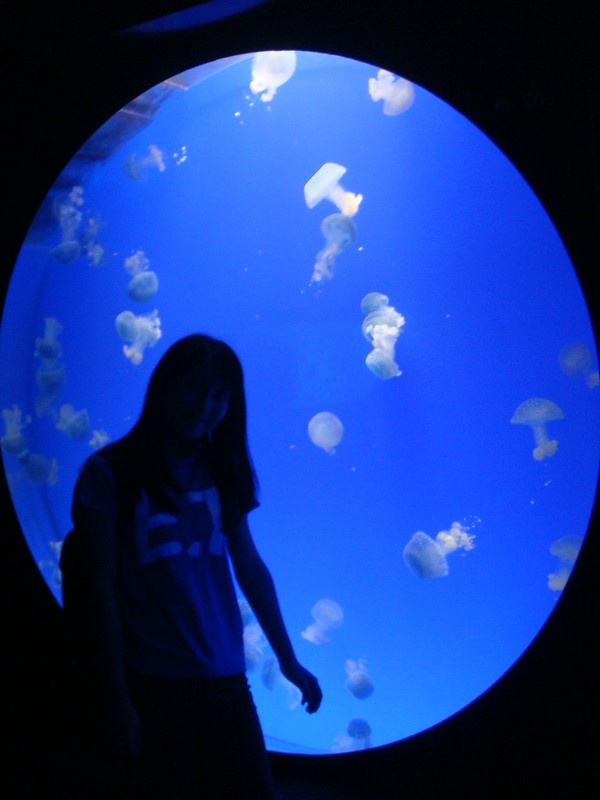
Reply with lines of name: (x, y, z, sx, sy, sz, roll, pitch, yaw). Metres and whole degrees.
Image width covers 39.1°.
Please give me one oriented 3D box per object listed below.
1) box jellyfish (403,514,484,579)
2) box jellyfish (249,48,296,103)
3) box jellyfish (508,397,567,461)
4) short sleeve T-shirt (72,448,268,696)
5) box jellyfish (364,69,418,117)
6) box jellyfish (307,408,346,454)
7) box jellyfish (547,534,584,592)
box jellyfish: (0.559, 0.592, 3.410, 0.250, 0.055, 0.206, -34, 59, -2)
box jellyfish: (-0.099, -1.228, 3.223, 0.183, 0.158, 0.185, -9, 14, -9)
box jellyfish: (0.941, 0.104, 3.337, 0.173, 0.234, 0.032, -2, 11, 41)
short sleeve T-shirt: (-0.486, 0.608, 2.962, 0.315, 0.939, 0.712, -19, -15, 30)
box jellyfish: (0.357, -1.207, 3.339, 0.155, 0.122, 0.084, 33, 48, 14)
box jellyfish: (0.099, 0.123, 3.377, 0.128, 0.171, 0.043, -10, 3, -21)
box jellyfish: (0.991, 0.606, 3.196, 0.047, 0.211, 0.150, 14, -1, -11)
